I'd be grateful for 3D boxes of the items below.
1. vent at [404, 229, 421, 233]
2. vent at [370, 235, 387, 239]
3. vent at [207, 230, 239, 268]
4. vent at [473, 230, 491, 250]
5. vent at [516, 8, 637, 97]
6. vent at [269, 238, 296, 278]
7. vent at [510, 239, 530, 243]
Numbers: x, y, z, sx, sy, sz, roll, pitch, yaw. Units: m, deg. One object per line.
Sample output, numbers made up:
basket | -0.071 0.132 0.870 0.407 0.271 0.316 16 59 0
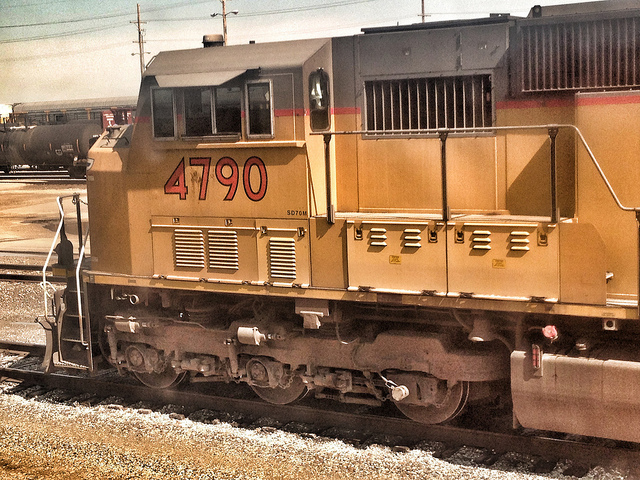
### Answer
vent | 1.185 -0.119 9.797 0.137 0.039 0.037 1 22 15
vent | 0.755 -0.044 9.967 0.172 0.051 0.034 -1 -19 20
vent | -1.354 0.114 10.897 0.435 0.618 0.061 1 4 20
vent | 2.009 -0.013 9.471 0.194 0.264 0.077 2 4 21
vent | 3.258 -2.387 9.776 1.451 0.962 0.172 0 5 20
vent | -0.491 0.227 10.522 0.450 0.721 0.076 1 3 23
vent | 2.422 0.008 9.302 0.190 0.054 0.030 4 21 25
